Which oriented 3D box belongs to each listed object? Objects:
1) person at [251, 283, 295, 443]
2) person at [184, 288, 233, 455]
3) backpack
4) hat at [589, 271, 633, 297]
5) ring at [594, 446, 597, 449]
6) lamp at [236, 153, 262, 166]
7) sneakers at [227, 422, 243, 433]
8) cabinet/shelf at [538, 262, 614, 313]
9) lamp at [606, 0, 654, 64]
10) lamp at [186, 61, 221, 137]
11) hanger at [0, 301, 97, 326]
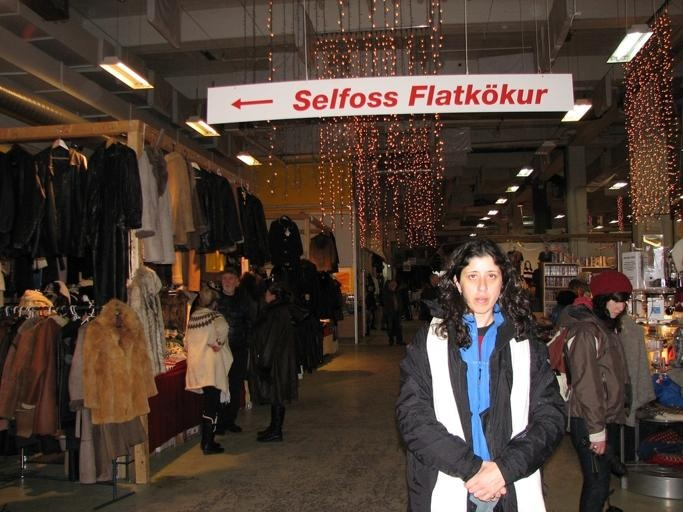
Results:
[{"bbox_3d":[-0.759,1.255,7.298,0.514,1.854,0.420,0,1,23],"label":"person"},{"bbox_3d":[-1.522,1.279,7.065,0.484,1.867,0.549,0,1,2],"label":"person"},{"bbox_3d":[1.789,0.821,4.647,0.202,0.730,0.224,-34,37,-11],"label":"backpack"},{"bbox_3d":[2.367,0.268,5.458,0.217,0.123,0.288,-4,-5,5],"label":"hat"},{"bbox_3d":[1.932,1.437,4.631,0.020,0.022,0.006,-14,-18,-5],"label":"ring"},{"bbox_3d":[-1.969,-2.073,13.194,0.336,0.184,0.663,7,-1,12],"label":"lamp"},{"bbox_3d":[-1.328,2.167,7.815,0.226,0.187,0.081,0,2,4],"label":"sneakers"},{"bbox_3d":[3.400,0.446,9.120,0.923,1.021,0.304,-1,-2,0],"label":"cabinet/shelf"},{"bbox_3d":[4.179,-3.169,8.809,0.397,0.119,0.775,8,-16,5],"label":"lamp"},{"bbox_3d":[-2.957,-3.218,12.938,0.695,1.479,2.573,0,1,-12],"label":"lamp"},{"bbox_3d":[-2.978,0.582,6.224,1.174,0.194,0.186,1,-14,11],"label":"hanger"}]
